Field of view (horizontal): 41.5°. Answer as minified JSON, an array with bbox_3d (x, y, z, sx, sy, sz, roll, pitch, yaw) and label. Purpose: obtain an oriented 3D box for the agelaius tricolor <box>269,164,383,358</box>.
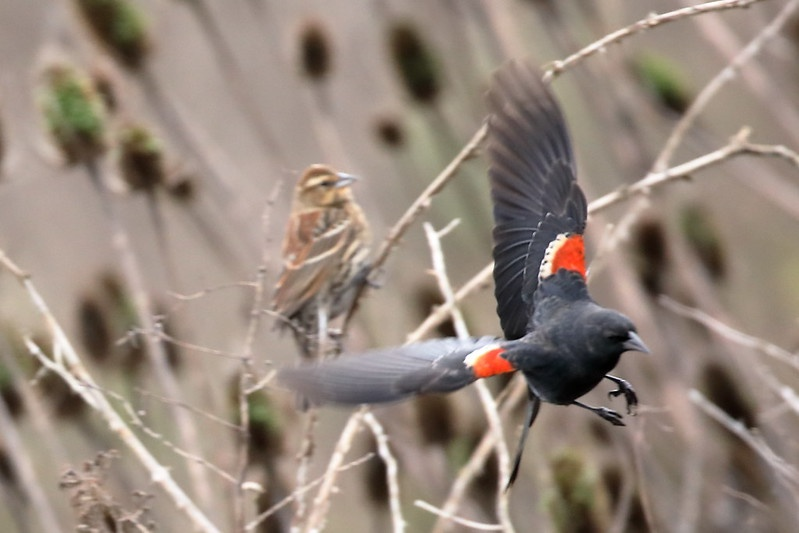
[{"bbox_3d":[-0.597,-0.063,7.129,0.840,1.237,0.578,-15,7,-34],"label":"agelaius tricolor"}]
